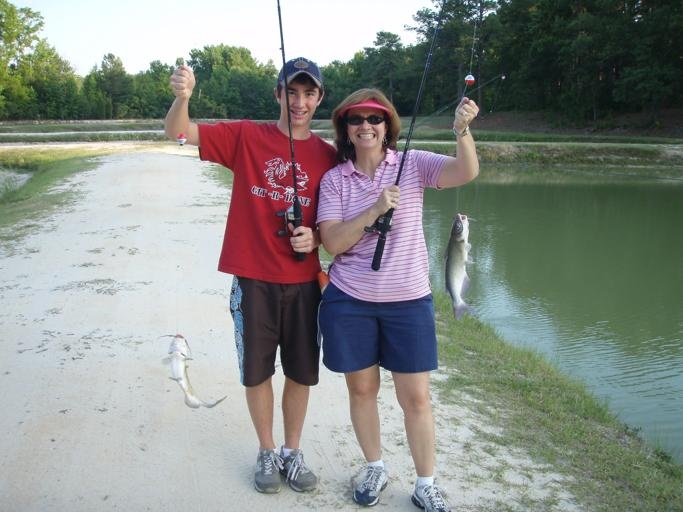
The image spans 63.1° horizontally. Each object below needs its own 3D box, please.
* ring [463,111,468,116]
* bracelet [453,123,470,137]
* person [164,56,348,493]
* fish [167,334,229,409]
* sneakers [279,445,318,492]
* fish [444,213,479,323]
[{"bbox_3d":[0.743,-0.860,3.336,0.017,0.026,0.007,0,0,2],"label":"ring"},{"bbox_3d":[0.745,-0.787,3.461,0.095,0.066,0.187,3,16,11],"label":"bracelet"},{"bbox_3d":[-0.565,0.092,3.867,0.897,2.854,1.142,-1,4,-11],"label":"person"},{"bbox_3d":[-1.138,0.946,4.437,0.653,0.553,0.533,-4,11,-23],"label":"fish"},{"bbox_3d":[-0.304,1.396,3.710,0.156,0.155,0.321,-2,18,-40],"label":"sneakers"},{"bbox_3d":[0.793,0.066,3.822,0.196,0.778,0.195,6,8,30],"label":"fish"}]
